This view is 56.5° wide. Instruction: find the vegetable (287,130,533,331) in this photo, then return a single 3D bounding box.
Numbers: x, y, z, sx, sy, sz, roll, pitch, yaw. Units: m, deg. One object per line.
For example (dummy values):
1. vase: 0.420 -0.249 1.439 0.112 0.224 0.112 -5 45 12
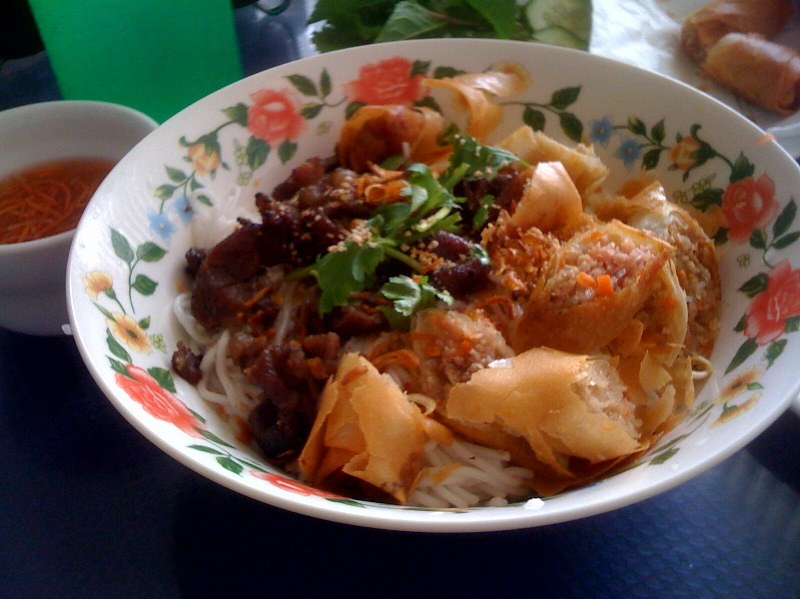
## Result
1. vegetable: 0.034 -0.141 1.499 0.377 0.124 0.401 31 65 24
